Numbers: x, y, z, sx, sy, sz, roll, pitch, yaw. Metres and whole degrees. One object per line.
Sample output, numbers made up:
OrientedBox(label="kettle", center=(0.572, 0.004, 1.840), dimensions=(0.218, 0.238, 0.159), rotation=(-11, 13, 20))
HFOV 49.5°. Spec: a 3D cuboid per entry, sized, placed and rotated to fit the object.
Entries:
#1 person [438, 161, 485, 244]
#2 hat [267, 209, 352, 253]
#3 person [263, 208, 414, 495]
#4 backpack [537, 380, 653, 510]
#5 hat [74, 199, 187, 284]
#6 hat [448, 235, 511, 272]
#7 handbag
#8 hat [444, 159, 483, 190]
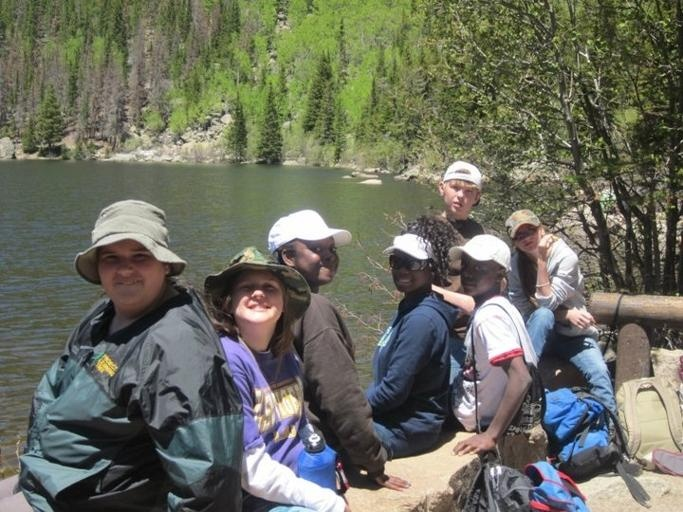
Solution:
OrientedBox(label="person", center=(1.123, -0.529, 7.081), dimensions=(0.515, 0.740, 0.539), rotation=(10, 10, 11))
OrientedBox(label="hat", center=(-0.277, -0.122, 5.532), dimensions=(0.453, 0.253, 0.354), rotation=(-22, -5, 22))
OrientedBox(label="person", center=(-0.233, 0.574, 5.489), dimensions=(0.931, 1.827, 1.238), rotation=(-5, 20, -44))
OrientedBox(label="backpack", center=(2.052, 1.608, 6.376), dimensions=(1.002, 0.677, 0.435), rotation=(26, -39, -15))
OrientedBox(label="hat", center=(-1.288, -0.118, 4.575), dimensions=(0.530, 0.361, 0.508), rotation=(-2, -10, -24))
OrientedBox(label="hat", center=(1.095, -0.018, 5.828), dimensions=(0.383, 0.212, 0.280), rotation=(24, -3, -26))
OrientedBox(label="handbag", center=(2.009, 1.465, 6.388), dimensions=(0.611, 0.862, 0.369), rotation=(-11, -40, -10))
OrientedBox(label="hat", center=(1.170, -0.770, 7.147), dimensions=(0.253, 0.221, 0.327), rotation=(4, -8, -1))
